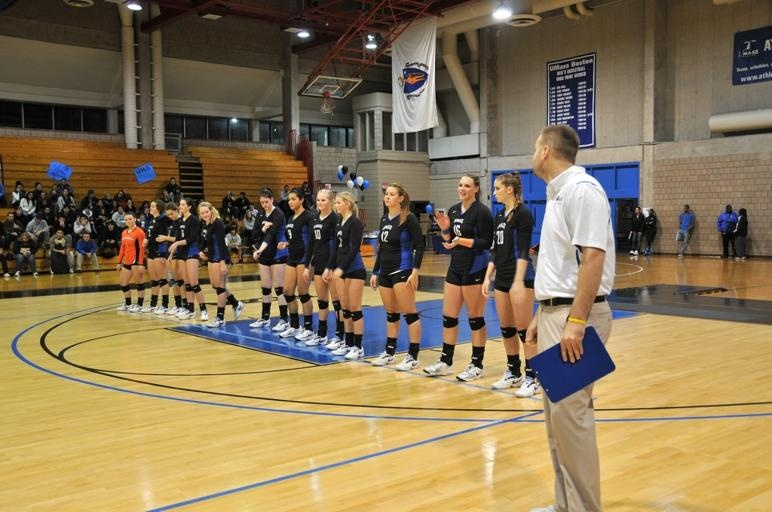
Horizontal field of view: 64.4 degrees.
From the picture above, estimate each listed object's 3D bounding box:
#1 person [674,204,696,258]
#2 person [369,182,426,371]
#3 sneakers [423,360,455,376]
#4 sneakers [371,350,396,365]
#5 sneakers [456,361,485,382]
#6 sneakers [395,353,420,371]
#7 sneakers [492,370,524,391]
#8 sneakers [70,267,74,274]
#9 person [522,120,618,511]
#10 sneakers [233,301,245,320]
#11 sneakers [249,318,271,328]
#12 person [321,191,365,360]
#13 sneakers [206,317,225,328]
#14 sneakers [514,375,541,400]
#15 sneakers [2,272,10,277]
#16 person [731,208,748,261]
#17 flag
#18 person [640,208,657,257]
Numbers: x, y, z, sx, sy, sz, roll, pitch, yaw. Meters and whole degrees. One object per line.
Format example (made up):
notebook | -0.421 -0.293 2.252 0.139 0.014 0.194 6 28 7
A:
person | 10.736 -0.950 22.088 0.852 1.832 0.576 -6 10 -33
person | 0.137 0.244 7.962 0.670 2.333 0.871 -1 8 0
sneakers | 0.653 1.391 7.580 0.396 0.167 0.140 2 -3 -19
sneakers | -0.033 1.355 8.077 0.343 0.148 0.130 -2 -2 -15
sneakers | 1.021 1.404 7.396 0.363 0.156 0.144 3 -4 -40
sneakers | 0.290 1.370 7.841 0.343 0.157 0.133 8 -10 -44
sneakers | 1.409 1.439 7.136 0.417 0.188 0.144 2 -4 -23
sneakers | -9.291 0.429 18.202 0.160 0.152 0.135 7 7 38
person | 1.350 0.492 4.485 0.575 2.893 0.697 -2 8 -6
sneakers | -2.671 0.948 11.016 0.174 0.362 0.140 19 15 2
sneakers | -2.151 1.144 10.426 0.356 0.144 0.135 3 -5 -28
person | -0.560 0.251 8.444 0.526 2.242 0.713 -1 8 -2
sneakers | -2.839 1.138 10.535 0.152 0.177 0.431 -4 -8 39
sneakers | 1.588 1.466 6.816 0.158 0.187 0.444 -6 -10 33
sneakers | -10.593 0.525 17.139 0.137 0.084 0.180 0 2 -33
person | 11.950 -0.772 20.590 0.422 1.661 1.205 4 9 30
flag | 1.035 -6.429 21.572 1.189 3.969 2.389 -7 10 -33
person | 9.876 -0.944 22.974 0.523 1.718 0.526 4 10 29
